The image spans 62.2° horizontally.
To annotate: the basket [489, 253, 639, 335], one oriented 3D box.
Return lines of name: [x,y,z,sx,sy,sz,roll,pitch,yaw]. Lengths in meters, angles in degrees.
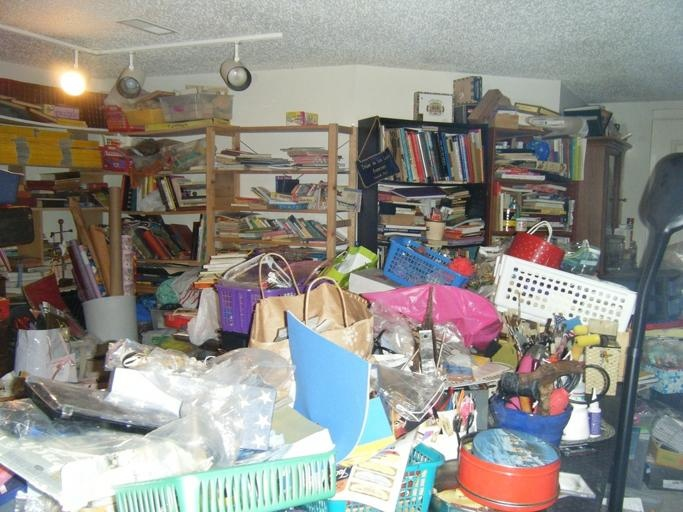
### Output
basket: [0.889,0.162,2.321,0.475,0.161,0.302,18,2,5]

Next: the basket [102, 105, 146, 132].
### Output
basket: [-1.950,-1.207,4.988,0.517,0.259,0.151,-2,36,-4]

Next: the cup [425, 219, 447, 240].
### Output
cup: [0.592,-0.159,3.514,0.140,0.111,0.123,1,7,10]

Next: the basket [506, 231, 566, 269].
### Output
basket: [0.821,-0.030,2.419,0.198,0.108,0.203,30,-1,-38]

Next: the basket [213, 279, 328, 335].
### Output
basket: [-0.369,0.235,2.681,0.276,0.187,0.371,0,-3,37]

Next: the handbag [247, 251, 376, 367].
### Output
handbag: [-0.097,0.156,2.006,0.509,0.384,0.301,-7,17,-26]

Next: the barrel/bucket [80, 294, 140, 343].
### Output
barrel/bucket: [-1.652,0.466,4.110,0.385,0.354,0.347,-10,11,-33]

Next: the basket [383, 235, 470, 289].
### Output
basket: [0.435,0.071,2.928,0.404,0.157,0.242,24,-6,17]
